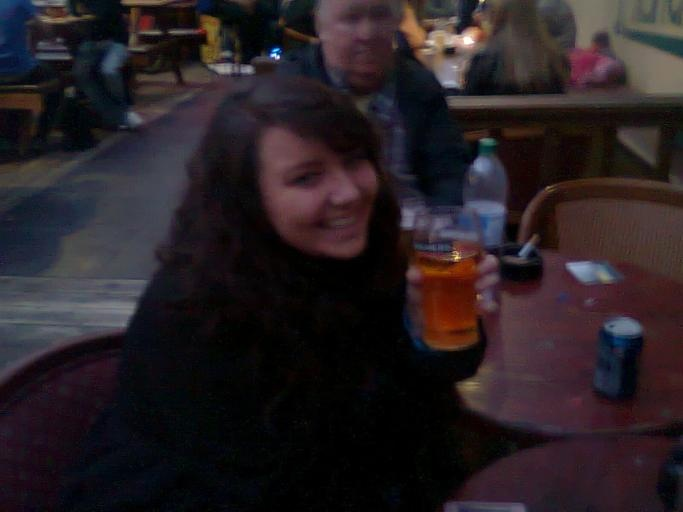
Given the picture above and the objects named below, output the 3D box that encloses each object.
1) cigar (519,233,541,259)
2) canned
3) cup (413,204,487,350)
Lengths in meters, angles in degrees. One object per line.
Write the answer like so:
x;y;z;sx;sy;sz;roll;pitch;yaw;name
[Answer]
0.632;-0.032;1.779;0.017;0.067;0.071;29;6;21;cigar
0.617;0.229;1.186;0.084;0.127;0.145;6;22;28;canned
0.246;0.049;1.214;0.147;0.276;0.196;-1;21;13;cup
